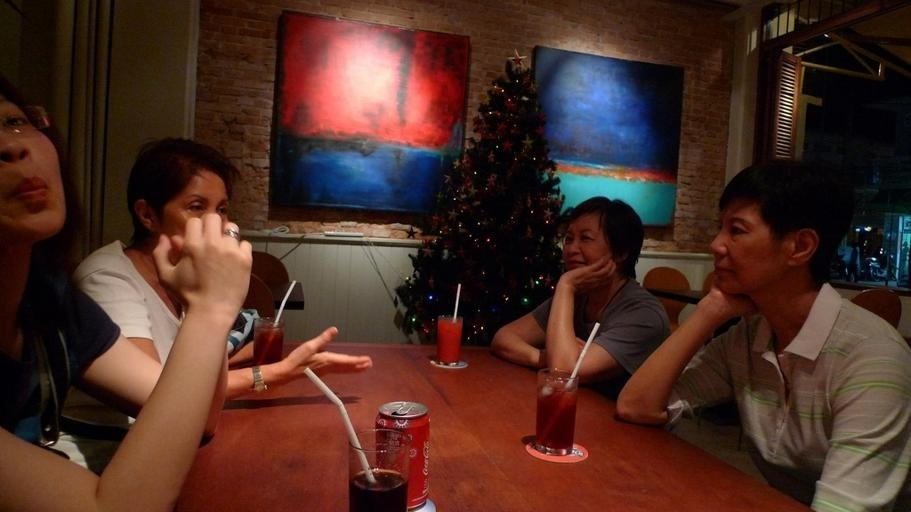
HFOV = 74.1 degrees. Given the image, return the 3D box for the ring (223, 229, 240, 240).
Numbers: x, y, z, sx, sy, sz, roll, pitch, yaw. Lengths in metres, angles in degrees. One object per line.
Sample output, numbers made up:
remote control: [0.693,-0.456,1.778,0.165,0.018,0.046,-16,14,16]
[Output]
ring: [-0.808,-0.086,2.178,0.046,0.011,0.046,28,3,-1]

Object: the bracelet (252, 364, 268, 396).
bracelet: [-0.877,0.552,2.674,0.071,0.107,0.107,-7,35,-17]
